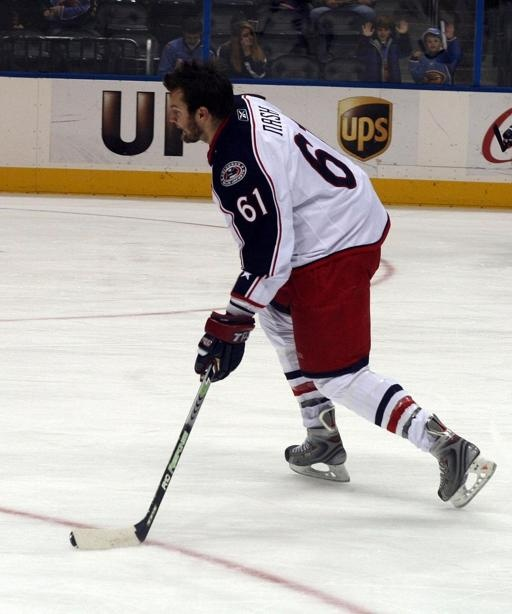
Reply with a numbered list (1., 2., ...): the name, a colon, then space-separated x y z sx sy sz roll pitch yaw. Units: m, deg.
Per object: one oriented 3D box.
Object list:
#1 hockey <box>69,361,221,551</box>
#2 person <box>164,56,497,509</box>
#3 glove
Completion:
1. hockey: -0.227 0.380 1.915 0.135 0.091 0.705 27 16 3
2. person: 0.175 -0.056 1.959 0.866 1.020 0.346 5 15 8
3. glove: -0.074 0.096 1.900 0.127 0.176 0.074 3 15 -1
